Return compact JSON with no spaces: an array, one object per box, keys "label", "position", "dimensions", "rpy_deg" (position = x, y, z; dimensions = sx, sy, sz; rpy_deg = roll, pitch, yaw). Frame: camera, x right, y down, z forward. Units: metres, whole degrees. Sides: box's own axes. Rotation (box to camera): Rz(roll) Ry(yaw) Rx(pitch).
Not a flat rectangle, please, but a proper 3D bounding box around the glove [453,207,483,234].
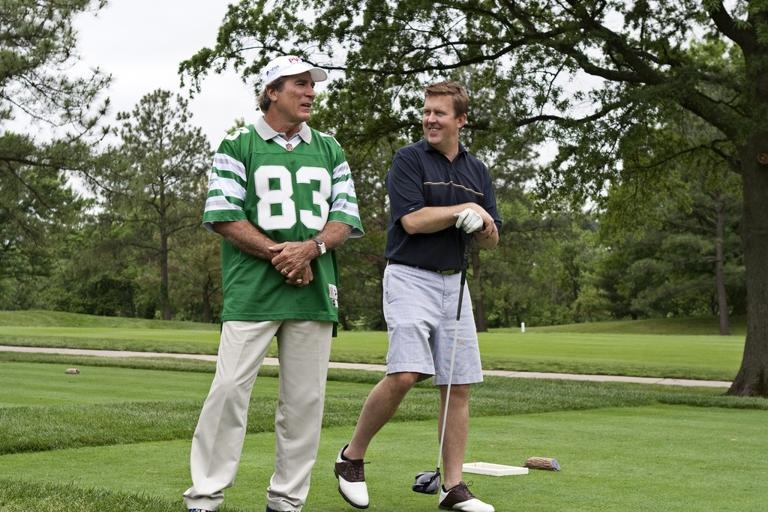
[{"label":"glove","position":[0.880,-0.381,8.464],"dimensions":[0.275,0.223,0.137],"rpy_deg":[0,-9,16]}]
